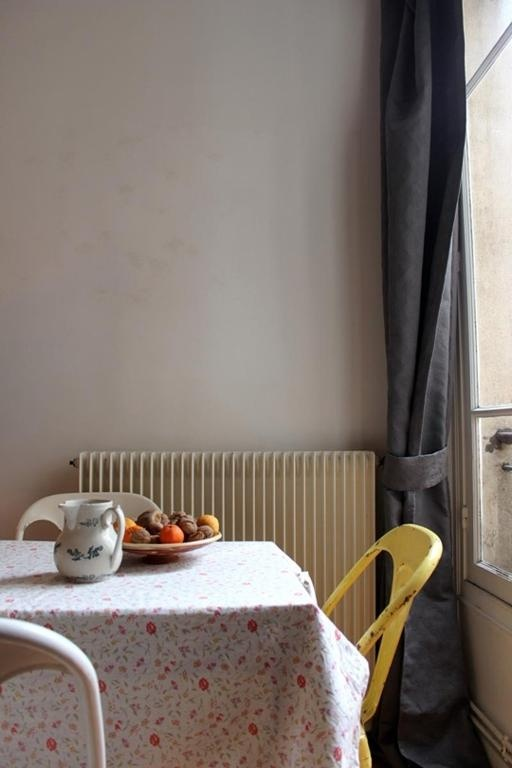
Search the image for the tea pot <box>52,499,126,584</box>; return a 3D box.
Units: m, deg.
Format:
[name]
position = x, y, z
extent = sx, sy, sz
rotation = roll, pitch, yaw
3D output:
[tea pot]
position = -0.282, 0.245, 1.152
extent = 0.112, 0.140, 0.100
rotation = 2, 2, -21
